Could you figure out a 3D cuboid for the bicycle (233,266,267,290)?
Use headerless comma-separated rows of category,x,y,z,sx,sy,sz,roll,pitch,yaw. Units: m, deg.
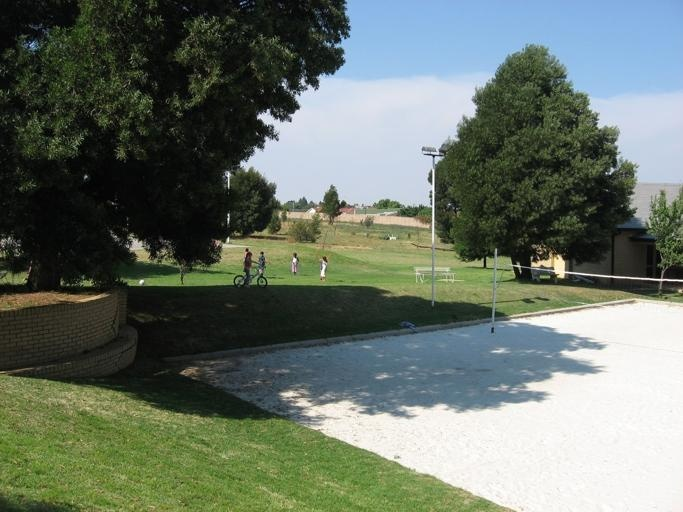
bicycle,-4.600,1.236,31.723,1.979,1.267,1.019,-1,10,-5
